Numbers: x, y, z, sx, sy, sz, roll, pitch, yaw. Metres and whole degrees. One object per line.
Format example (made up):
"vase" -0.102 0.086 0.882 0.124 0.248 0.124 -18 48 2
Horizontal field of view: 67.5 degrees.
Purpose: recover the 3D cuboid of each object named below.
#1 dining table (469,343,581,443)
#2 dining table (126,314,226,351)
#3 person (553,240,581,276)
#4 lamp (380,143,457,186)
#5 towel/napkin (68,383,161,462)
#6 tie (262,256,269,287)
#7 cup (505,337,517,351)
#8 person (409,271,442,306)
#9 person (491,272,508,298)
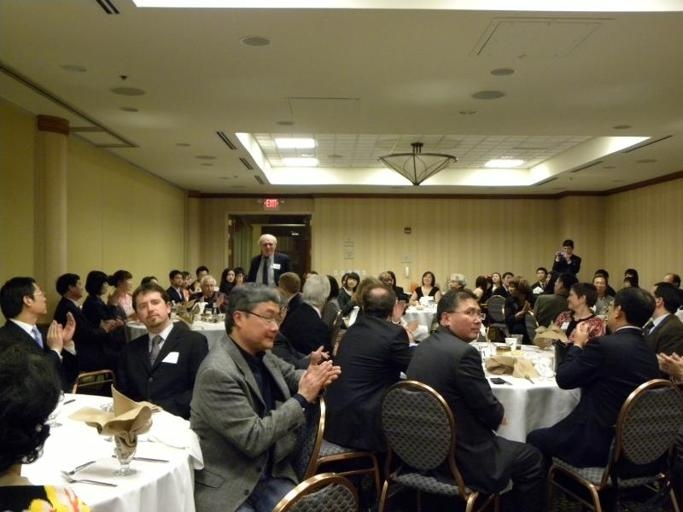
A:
"dining table" 1.318 0.997 3.818 0.627 0.234 0.593 11 15 42
"dining table" -1.464 0.677 4.466 0.646 0.236 0.657 1 -5 -2
"person" 4.229 0.023 9.546 0.442 0.704 0.915 1 0 23
"lamp" 1.403 -1.659 9.428 0.973 0.503 0.983 0 -6 -5
"towel/napkin" -1.042 0.815 2.425 0.372 0.315 0.335 -8 -4 6
"tie" -1.117 0.215 7.647 0.102 0.358 0.237 1 0 -14
"cup" 1.552 0.800 4.623 0.100 0.103 0.096 1 -1 0
"person" 1.722 0.714 10.197 0.547 0.789 0.655 3 -32 12
"person" 3.184 0.612 10.222 0.274 0.265 0.727 -2 41 14
